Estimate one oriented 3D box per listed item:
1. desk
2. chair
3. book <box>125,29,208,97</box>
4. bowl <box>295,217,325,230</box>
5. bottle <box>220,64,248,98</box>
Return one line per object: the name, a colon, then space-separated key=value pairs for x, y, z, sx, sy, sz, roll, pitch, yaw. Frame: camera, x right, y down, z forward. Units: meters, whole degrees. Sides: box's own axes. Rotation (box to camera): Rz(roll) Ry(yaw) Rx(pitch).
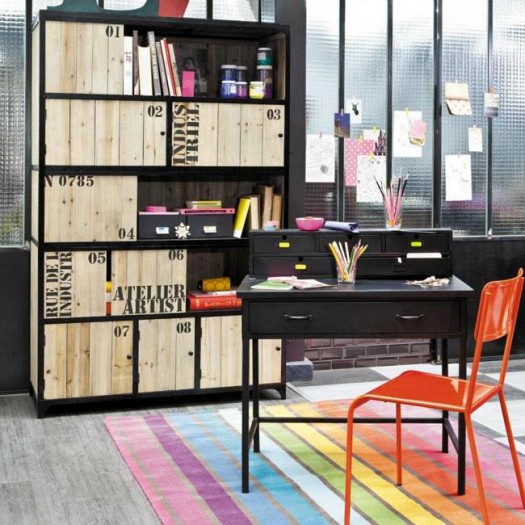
desk: x=0.396 y=0.292 z=3.303 sx=1.116 sy=1.219 sz=0.769 roll=0 pitch=0 yaw=-1
chair: x=0.688 y=0.526 z=2.712 sx=0.710 sy=0.946 sz=0.474 roll=1 pitch=5 yaw=10
book: x=-0.560 y=-1.124 z=4.093 sx=0.493 sy=0.360 sz=0.299 roll=-1 pitch=6 yaw=-13
bowl: x=0.237 y=-0.187 z=3.439 sx=0.130 sy=0.059 sz=0.165 roll=1 pitch=6 yaw=7
bottle: x=-0.174 y=-1.061 z=4.241 sx=0.177 sy=0.234 sz=0.191 roll=1 pitch=6 yaw=0
